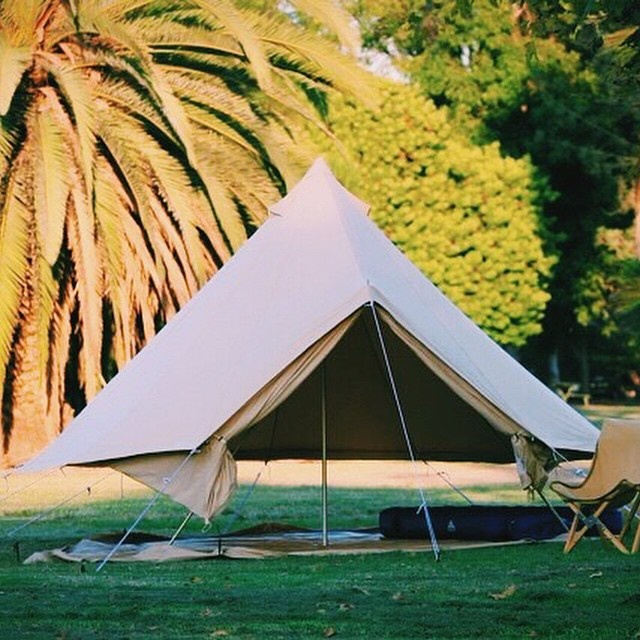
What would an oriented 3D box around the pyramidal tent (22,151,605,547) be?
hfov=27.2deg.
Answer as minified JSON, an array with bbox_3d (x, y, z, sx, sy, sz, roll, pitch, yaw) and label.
[{"bbox_3d":[-0.045,0.460,15.075,5.189,3.004,5.189,-3,-4,26],"label":"pyramidal tent"}]

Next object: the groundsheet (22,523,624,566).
[{"bbox_3d":[-0.626,2.435,14.562,5.116,0.160,1.352,-1,1,-9],"label":"groundsheet"}]
